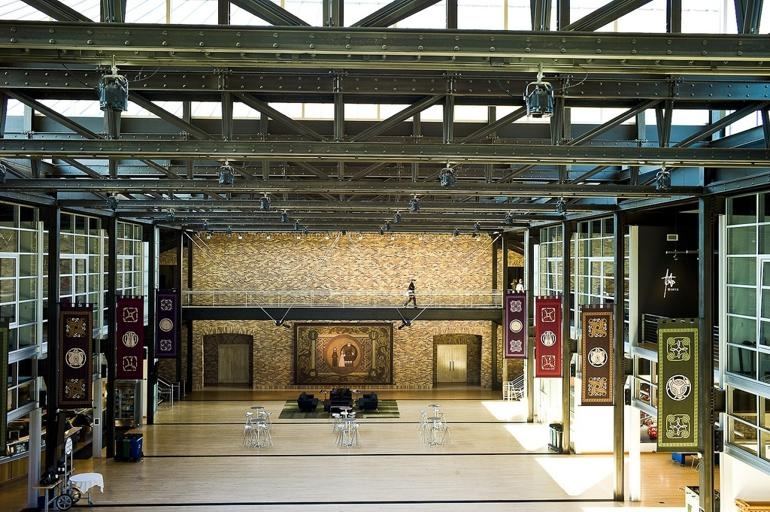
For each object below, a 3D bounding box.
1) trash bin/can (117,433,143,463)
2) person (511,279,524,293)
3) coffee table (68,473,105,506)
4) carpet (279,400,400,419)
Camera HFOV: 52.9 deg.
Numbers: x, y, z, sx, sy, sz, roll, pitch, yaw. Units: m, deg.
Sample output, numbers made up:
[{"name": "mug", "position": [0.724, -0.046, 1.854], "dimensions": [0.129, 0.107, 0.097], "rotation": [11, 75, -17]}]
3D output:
[{"name": "trash bin/can", "position": [-10.204, 7.670, 31.104], "dimensions": [1.255, 1.086, 0.924], "rotation": [1, -7, -8]}, {"name": "person", "position": [6.704, 1.510, 39.291], "dimensions": [0.660, 0.769, 0.304], "rotation": [2, -34, 9]}, {"name": "coffee table", "position": [-10.487, 8.179, 27.151], "dimensions": [1.094, 0.874, 1.024], "rotation": [-2, -10, 7]}, {"name": "carpet", "position": [-2.211, 7.655, 38.465], "dimensions": [5.764, 0.165, 3.423], "rotation": [0, 5, -3]}]
